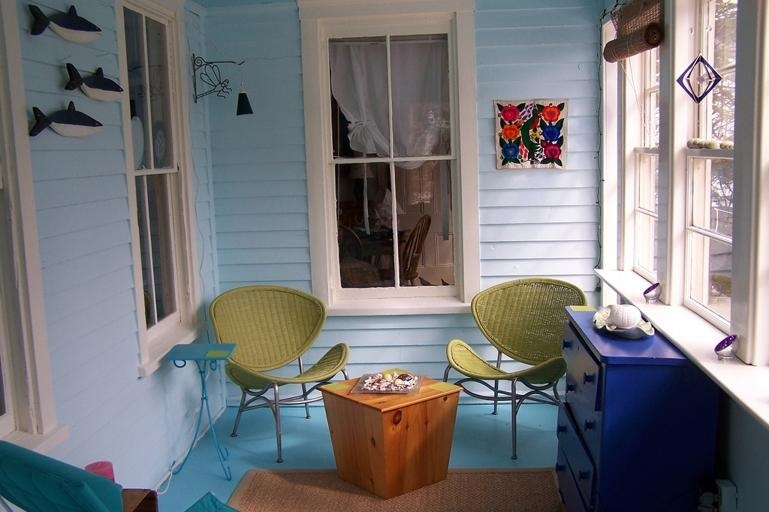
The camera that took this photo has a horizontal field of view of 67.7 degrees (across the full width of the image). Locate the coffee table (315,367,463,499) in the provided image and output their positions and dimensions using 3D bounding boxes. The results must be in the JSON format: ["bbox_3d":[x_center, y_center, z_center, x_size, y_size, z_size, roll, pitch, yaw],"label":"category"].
[{"bbox_3d":[-0.001,1.175,3.887,0.710,0.603,0.812,-1,0,-33],"label":"coffee table"}]

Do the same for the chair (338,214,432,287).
[{"bbox_3d":[-0.023,-0.050,5.306,0.655,0.921,0.651,1,0,0],"label":"chair"}]

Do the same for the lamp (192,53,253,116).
[{"bbox_3d":[-1.364,-1.394,4.705,0.449,0.480,0.252,-6,14,-23],"label":"lamp"}]
